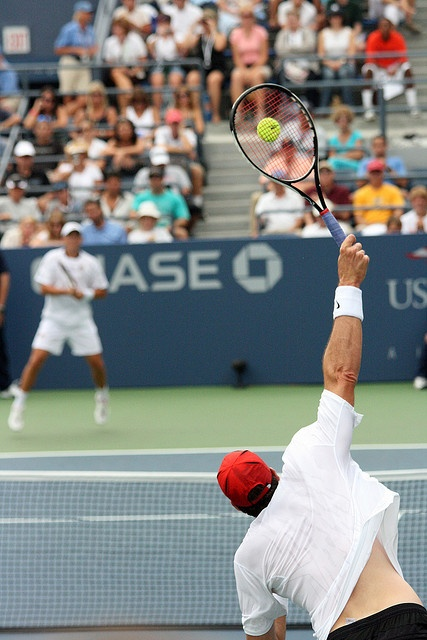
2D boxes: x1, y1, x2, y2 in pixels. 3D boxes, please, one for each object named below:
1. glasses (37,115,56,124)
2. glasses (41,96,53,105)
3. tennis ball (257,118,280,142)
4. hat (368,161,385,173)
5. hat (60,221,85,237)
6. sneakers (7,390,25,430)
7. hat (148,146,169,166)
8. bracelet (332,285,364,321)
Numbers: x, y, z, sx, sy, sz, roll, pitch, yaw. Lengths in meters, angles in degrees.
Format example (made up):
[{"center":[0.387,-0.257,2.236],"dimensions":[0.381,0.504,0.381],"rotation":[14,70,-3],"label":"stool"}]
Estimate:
[{"center":[-1.997,-2.429,11.900],"dimensions":[0.175,0.087,0.112],"rotation":[19,66,-1],"label":"glasses"},{"center":[-1.973,-2.642,11.833],"dimensions":[0.110,0.158,0.115],"rotation":[-3,26,0],"label":"glasses"},{"center":[0.219,-0.712,3.786],"dimensions":[0.085,0.095,0.087],"rotation":[-7,-13,-2],"label":"tennis ball"},{"center":[1.644,-1.557,10.061],"dimensions":[0.136,0.064,0.220],"rotation":[-1,10,8],"label":"hat"},{"center":[-1.095,-0.688,7.727],"dimensions":[0.122,0.159,0.086],"rotation":[-1,59,-6],"label":"hat"},{"center":[-1.442,0.690,7.413],"dimensions":[0.110,0.297,0.148],"rotation":[4,-9,29],"label":"sneakers"},{"center":[-0.561,-1.711,10.483],"dimensions":[0.208,0.178,0.431],"rotation":[-6,33,-2],"label":"hat"},{"center":[0.401,-0.051,2.937],"dimensions":[0.079,0.097,0.103],"rotation":[3,-9,8],"label":"bracelet"}]
